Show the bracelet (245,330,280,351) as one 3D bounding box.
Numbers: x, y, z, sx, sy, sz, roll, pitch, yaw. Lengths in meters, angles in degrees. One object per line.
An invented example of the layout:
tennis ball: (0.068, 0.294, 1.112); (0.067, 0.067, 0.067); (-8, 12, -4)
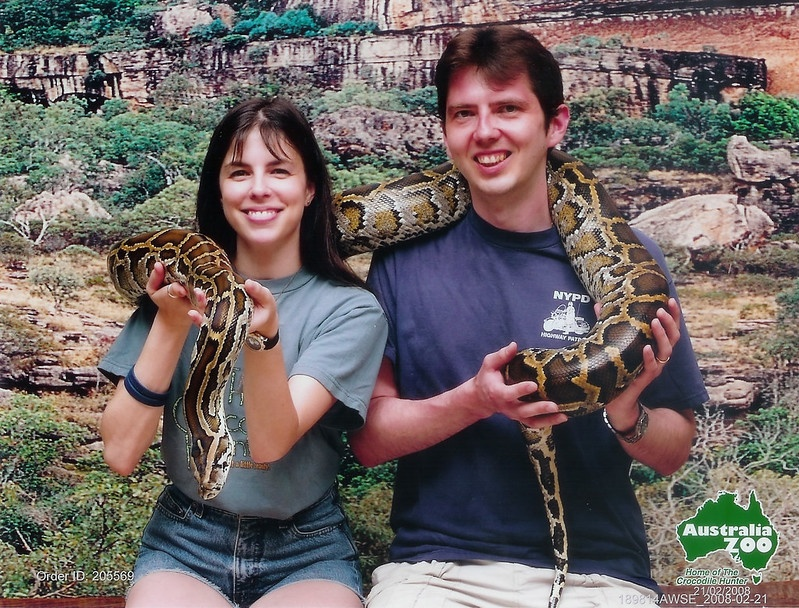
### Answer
bracelet: (-0.633, 0.171, 3.687); (0.130, 0.052, 0.100); (0, 8, 0)

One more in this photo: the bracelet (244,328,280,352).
bracelet: (-0.632, 0.179, 3.685); (0.133, 0.054, 0.105); (8, 0, 9)

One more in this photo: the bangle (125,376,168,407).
bangle: (-1.285, 0.456, 3.970); (0.199, 0.071, 0.198); (17, 9, -43)

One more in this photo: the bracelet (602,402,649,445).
bracelet: (1.259, 0.669, 4.362); (0.247, 0.084, 0.269); (-12, -17, -3)
